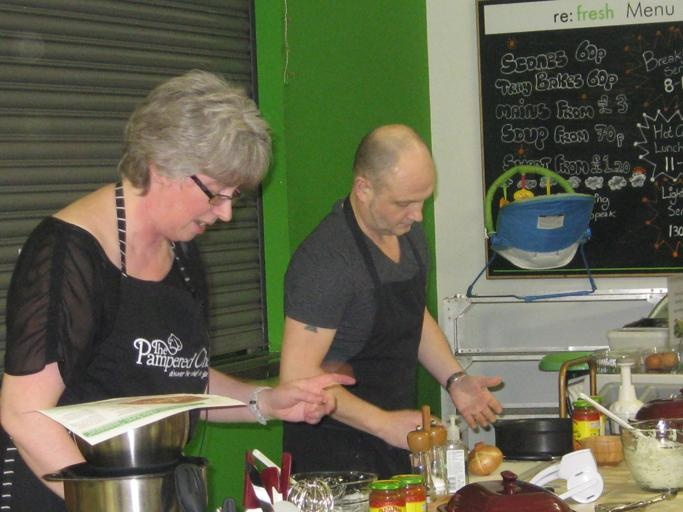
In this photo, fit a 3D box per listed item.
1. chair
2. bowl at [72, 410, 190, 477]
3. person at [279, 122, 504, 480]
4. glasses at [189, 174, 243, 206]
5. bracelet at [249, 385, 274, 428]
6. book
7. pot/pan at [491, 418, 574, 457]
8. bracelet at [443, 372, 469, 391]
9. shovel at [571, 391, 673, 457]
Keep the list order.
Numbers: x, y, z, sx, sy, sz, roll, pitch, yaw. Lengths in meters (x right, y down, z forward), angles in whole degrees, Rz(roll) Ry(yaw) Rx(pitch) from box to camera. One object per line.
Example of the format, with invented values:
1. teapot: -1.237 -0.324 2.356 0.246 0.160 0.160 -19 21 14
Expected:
1. chair: 1.026 -0.122 3.646 0.617 0.758 0.522 0 7 8
2. bowl: -0.400 0.319 1.336 0.198 0.101 0.195 2 11 0
3. person: 0.087 0.194 2.316 0.646 1.336 0.590 -5 12 -39
4. glasses: -0.305 -0.156 1.626 0.023 0.075 0.073 -47 -8 13
5. bracelet: -0.215 0.386 1.779 0.031 0.087 0.078 -2 51 12
6. book: -0.373 0.300 1.315 0.223 0.032 0.213 1 -5 -22
7. pot/pan: 0.578 0.525 2.084 0.259 0.123 0.212 -2 -4 9
8. bracelet: 0.402 0.435 2.362 0.069 0.027 0.065 -38 -5 -13
9. shovel: 0.763 0.450 1.848 0.182 0.110 0.177 0 7 15
